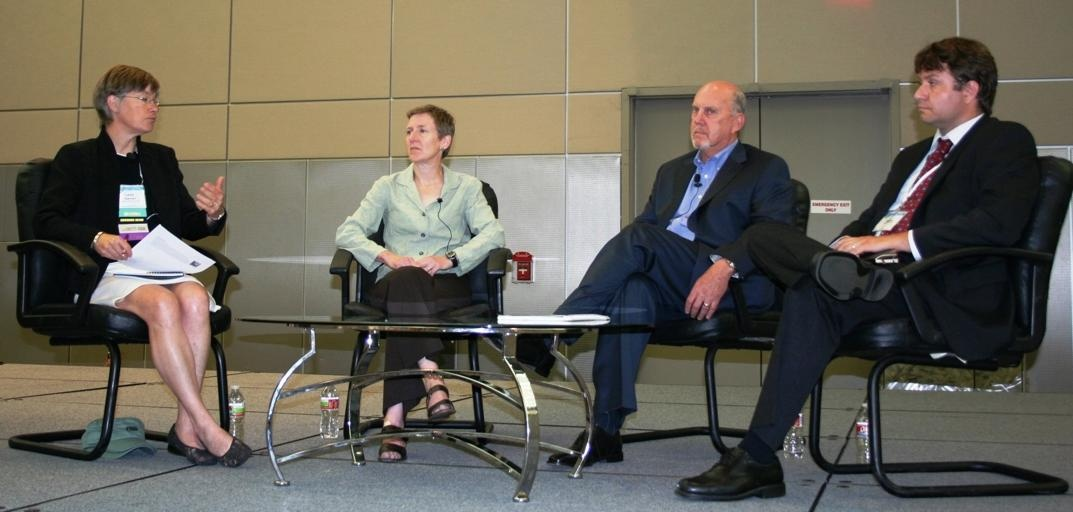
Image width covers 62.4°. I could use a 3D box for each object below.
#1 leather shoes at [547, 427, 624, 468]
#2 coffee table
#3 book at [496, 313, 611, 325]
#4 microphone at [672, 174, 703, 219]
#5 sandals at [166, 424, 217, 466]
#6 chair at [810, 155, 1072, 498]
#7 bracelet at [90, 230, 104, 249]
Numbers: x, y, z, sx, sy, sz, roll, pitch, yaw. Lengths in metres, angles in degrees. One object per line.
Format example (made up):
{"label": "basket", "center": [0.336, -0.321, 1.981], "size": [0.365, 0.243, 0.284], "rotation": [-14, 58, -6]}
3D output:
{"label": "leather shoes", "center": [0.430, 1.462, 6.690], "size": [0.658, 0.264, 0.229], "rotation": [3, -9, -20]}
{"label": "coffee table", "center": [-0.678, 1.006, 6.551], "size": [2.386, 1.306, 0.805], "rotation": [2, 12, 5]}
{"label": "book", "center": [0.111, 0.448, 6.190], "size": [0.772, 0.048, 0.184], "rotation": [1, 10, -2]}
{"label": "microphone", "center": [1.239, -0.464, 7.191], "size": [0.113, 0.379, 0.209], "rotation": [35, -15, -35]}
{"label": "sandals", "center": [-2.598, 1.447, 6.815], "size": [0.583, 0.208, 0.192], "rotation": [10, 3, 28]}
{"label": "chair", "center": [3.049, 0.512, 6.311], "size": [1.747, 2.397, 0.906], "rotation": [-3, 13, -21]}
{"label": "bracelet", "center": [-3.343, -0.115, 6.761], "size": [0.098, 0.095, 0.090], "rotation": [30, -29, 5]}
